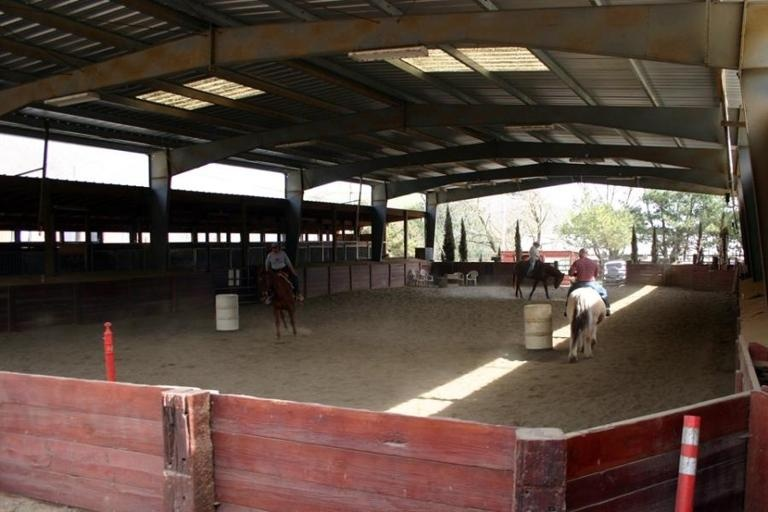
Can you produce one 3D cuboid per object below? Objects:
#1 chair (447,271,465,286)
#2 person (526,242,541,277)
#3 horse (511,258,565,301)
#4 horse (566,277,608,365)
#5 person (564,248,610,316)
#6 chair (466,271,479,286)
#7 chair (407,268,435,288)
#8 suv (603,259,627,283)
[{"bbox_3d":[4.484,1.409,34.084,1.040,0.708,0.756,-3,-5,28],"label":"chair"},{"bbox_3d":[6.579,0.158,24.013,0.528,1.455,1.076,-1,3,16],"label":"person"},{"bbox_3d":[6.781,1.116,24.461,2.367,1.756,0.632,5,2,38],"label":"horse"},{"bbox_3d":[4.463,1.449,12.117,0.675,1.540,1.620,0,3,29],"label":"horse"},{"bbox_3d":[4.712,0.645,12.863,0.933,1.555,2.120,-2,22,24],"label":"person"},{"bbox_3d":[5.453,1.374,33.820,0.819,1.098,0.835,-1,-5,21],"label":"chair"},{"bbox_3d":[2.216,1.301,33.696,0.803,0.987,2.445,0,3,34],"label":"chair"},{"bbox_3d":[13.263,0.896,31.554,1.610,0.753,2.280,5,12,30],"label":"suv"}]
